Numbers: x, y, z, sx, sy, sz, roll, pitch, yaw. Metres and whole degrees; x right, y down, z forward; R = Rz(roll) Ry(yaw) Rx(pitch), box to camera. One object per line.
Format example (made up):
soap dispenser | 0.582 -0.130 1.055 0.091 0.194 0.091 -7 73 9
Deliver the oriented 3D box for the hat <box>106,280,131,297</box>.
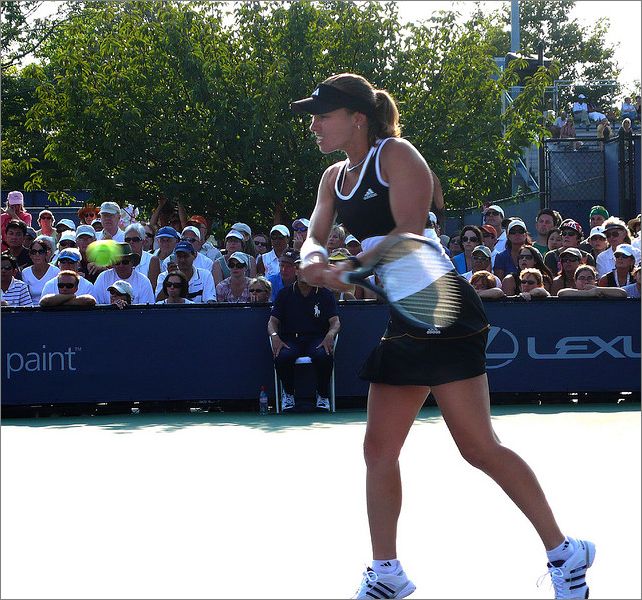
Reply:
hat | -2.002 -0.133 10.674 0.136 0.102 0.198 13 -17 38

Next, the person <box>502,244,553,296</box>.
person | 2.079 -0.281 10.971 0.477 0.736 0.283 -2 -47 21

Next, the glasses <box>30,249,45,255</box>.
glasses | -2.895 -0.489 10.978 0.143 0.058 0.060 -1 1 -16

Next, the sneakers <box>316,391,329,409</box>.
sneakers | 0.010 0.943 10.117 0.131 0.140 0.357 3 -7 -5

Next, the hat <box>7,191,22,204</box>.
hat | -4.135 -1.374 14.499 0.186 0.200 0.334 -1 1 -19

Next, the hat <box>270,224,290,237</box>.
hat | -0.482 -0.816 12.741 0.160 0.130 0.249 0 -26 11

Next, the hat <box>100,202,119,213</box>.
hat | -2.542 -1.117 12.916 0.179 0.132 0.262 1 -10 4

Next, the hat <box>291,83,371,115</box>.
hat | 0.057 -0.958 5.263 0.296 0.105 0.180 10 -5 -9

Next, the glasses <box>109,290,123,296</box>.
glasses | -2.031 -0.074 10.660 0.153 0.063 0.044 0 1 24

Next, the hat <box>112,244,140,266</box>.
hat | -2.011 -0.469 11.125 0.233 0.219 0.657 0 1 -9

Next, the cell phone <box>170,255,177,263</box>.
cell phone | -1.537 -0.422 11.146 0.073 0.132 0.018 -5 -16 20

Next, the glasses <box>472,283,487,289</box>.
glasses | 1.413 -0.124 9.631 0.123 0.046 0.093 7 -3 -2

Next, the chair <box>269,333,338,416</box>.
chair | -0.191 0.759 10.462 0.587 1.015 0.719 0 7 0

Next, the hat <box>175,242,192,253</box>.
hat | -1.421 -0.543 11.065 0.183 0.138 0.286 0 1 -7

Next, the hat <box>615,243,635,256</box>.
hat | 3.033 -0.496 10.763 0.196 0.130 0.189 0 1 -7

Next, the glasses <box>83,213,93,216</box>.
glasses | -3.176 -1.163 14.677 0.153 0.057 0.096 0 1 21

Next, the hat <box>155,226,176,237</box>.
hat | -1.726 -0.759 12.114 0.177 0.132 0.376 0 1 26

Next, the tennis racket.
tennis racket | 0.280 -0.050 5.169 0.712 0.138 0.465 14 -7 -26

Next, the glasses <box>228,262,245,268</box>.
glasses | -0.876 -0.355 11.088 0.174 0.065 0.077 0 1 -7

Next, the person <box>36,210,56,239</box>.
person | -3.740 -1.046 14.625 0.222 0.432 1.629 -1 1 -14
